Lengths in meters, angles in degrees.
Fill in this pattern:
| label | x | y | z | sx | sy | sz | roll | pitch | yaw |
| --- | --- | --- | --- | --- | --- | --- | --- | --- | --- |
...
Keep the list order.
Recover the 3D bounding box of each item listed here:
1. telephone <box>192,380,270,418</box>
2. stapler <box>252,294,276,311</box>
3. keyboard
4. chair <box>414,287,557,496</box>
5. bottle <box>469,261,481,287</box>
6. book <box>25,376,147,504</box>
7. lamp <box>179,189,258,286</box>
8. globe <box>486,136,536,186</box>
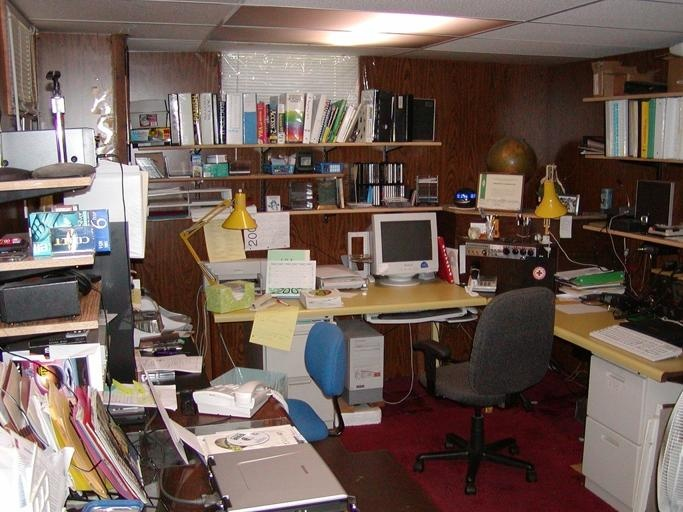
| label | x | y | z | sx | sy | sz | roll | pitch | yaw |
| --- | --- | --- | --- | --- | --- | --- | --- | --- | --- |
| telephone | -0.507 | 0.643 | 2.507 | 0.289 | 0.118 | 0.227 | 3 | 14 | 15 |
| stapler | -0.536 | 0.319 | 3.882 | 0.102 | 0.067 | 0.292 | 4 | 14 | 18 |
| keyboard | 1.710 | 0.501 | 3.150 | 0.237 | 0.056 | 0.449 | -7 | 15 | -25 |
| chair | 0.916 | 0.804 | 3.569 | 0.827 | 1.263 | 0.827 | -3 | 5 | -28 |
| bottle | 1.059 | 0.125 | 4.268 | 0.073 | 0.090 | 0.251 | 5 | 55 | 4 |
| book | -0.834 | 0.600 | 1.768 | 0.146 | 0.457 | 0.350 | -32 | 6 | -15 |
| lamp | -0.948 | -0.158 | 4.115 | 0.526 | 0.719 | 0.816 | -5 | 14 | -17 |
| globe | 1.416 | -0.762 | 4.518 | 0.433 | 0.424 | 0.401 | -3 | -1 | -5 |
